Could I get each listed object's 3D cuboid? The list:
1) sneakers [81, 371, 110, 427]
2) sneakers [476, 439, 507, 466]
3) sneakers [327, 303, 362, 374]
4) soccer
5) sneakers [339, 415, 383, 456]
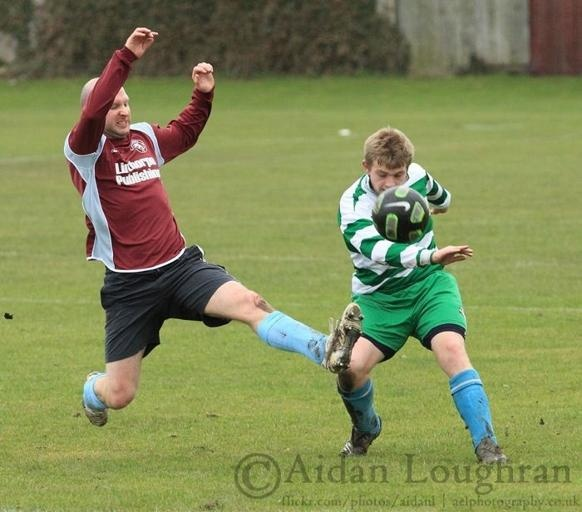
[{"bbox_3d":[-1.251,0.961,7.695,0.190,0.377,0.140,18,20,27],"label":"sneakers"},{"bbox_3d":[1.158,1.152,6.946,0.180,0.145,0.092,-2,14,5],"label":"sneakers"},{"bbox_3d":[0.290,0.479,6.734,0.223,0.429,0.196,-3,14,2],"label":"sneakers"},{"bbox_3d":[0.642,-0.234,7.189,0.352,0.371,0.334,-9,53,6],"label":"soccer"},{"bbox_3d":[0.424,1.124,7.303,0.274,0.202,0.157,-5,14,-7],"label":"sneakers"}]
